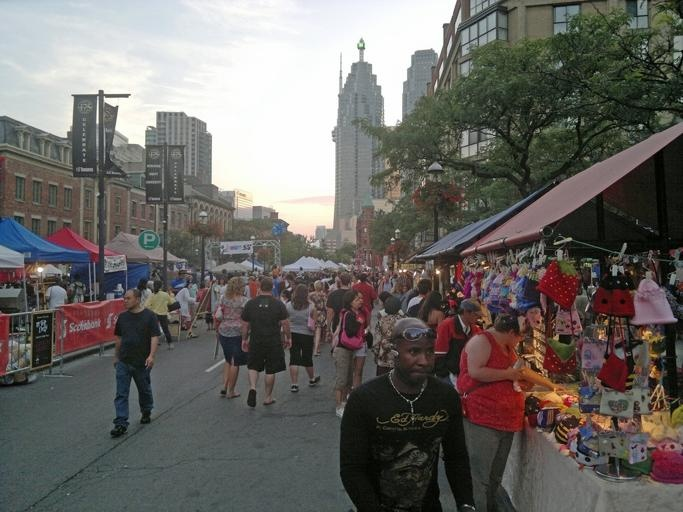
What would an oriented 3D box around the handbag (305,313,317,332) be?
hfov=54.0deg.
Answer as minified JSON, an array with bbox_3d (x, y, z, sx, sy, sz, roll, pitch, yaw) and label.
[{"bbox_3d":[-0.594,1.285,13.278,0.142,0.489,0.326,-4,-5,16],"label":"handbag"}]

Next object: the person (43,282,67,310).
[{"bbox_3d":[-9.084,1.267,21.297,0.846,1.313,0.439,1,6,-32],"label":"person"}]

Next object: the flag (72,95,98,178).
[{"bbox_3d":[-8.615,-4.083,22.572,0.772,2.657,1.130,0,0,-20],"label":"flag"}]

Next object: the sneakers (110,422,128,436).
[{"bbox_3d":[-3.451,2.687,10.400,0.111,0.152,0.321,0,-12,4],"label":"sneakers"}]

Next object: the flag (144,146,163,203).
[{"bbox_3d":[-7.928,-3.585,28.515,0.658,2.320,1.604,0,0,-15],"label":"flag"}]

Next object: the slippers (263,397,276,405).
[{"bbox_3d":[-1.292,2.636,12.198,0.080,0.184,0.231,7,11,36],"label":"slippers"}]

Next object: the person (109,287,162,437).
[{"bbox_3d":[-3.384,1.639,10.833,0.674,2.232,0.901,0,0,41],"label":"person"}]

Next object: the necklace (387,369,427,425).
[{"bbox_3d":[0.576,1.196,5.680,0.225,0.409,0.101,10,-10,-5],"label":"necklace"}]

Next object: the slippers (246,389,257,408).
[{"bbox_3d":[-1.574,2.497,11.883,0.156,0.323,0.196,0,0,-18],"label":"slippers"}]

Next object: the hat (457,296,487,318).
[{"bbox_3d":[1.839,0.701,9.239,0.299,0.178,0.229,1,12,-15],"label":"hat"}]

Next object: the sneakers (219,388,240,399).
[{"bbox_3d":[-2.123,2.583,12.725,0.434,0.205,0.140,-2,3,-13],"label":"sneakers"}]

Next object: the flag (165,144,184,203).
[{"bbox_3d":[-7.451,-3.726,30.011,0.759,2.614,0.871,0,0,-18],"label":"flag"}]

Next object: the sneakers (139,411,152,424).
[{"bbox_3d":[-3.209,2.638,11.045,0.216,0.228,0.137,0,4,-18],"label":"sneakers"}]
